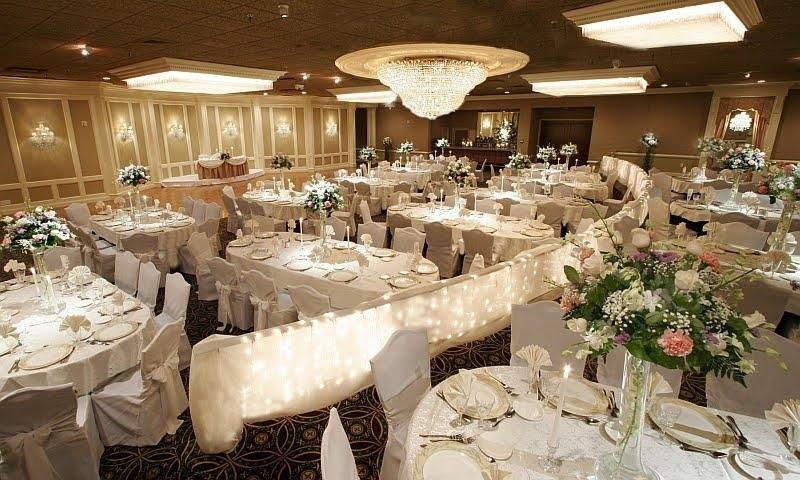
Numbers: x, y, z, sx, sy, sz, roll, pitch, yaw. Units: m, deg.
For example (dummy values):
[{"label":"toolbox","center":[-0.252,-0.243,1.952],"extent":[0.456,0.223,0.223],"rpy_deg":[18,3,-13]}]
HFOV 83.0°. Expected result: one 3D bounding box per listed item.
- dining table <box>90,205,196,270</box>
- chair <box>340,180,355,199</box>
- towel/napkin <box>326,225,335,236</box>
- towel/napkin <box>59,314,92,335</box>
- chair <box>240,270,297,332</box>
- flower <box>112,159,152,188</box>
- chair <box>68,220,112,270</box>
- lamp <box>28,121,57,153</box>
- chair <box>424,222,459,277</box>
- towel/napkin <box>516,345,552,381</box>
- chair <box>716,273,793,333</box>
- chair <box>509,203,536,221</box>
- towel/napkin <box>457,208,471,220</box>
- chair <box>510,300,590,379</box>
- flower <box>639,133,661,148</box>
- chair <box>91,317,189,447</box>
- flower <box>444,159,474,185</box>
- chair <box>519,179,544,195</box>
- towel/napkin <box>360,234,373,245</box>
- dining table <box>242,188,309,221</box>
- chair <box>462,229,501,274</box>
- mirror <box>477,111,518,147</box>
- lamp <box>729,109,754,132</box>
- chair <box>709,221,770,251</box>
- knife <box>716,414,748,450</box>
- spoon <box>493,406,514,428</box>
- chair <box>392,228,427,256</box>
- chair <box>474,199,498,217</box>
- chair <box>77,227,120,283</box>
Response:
[{"label":"dining table","center":[-5.533,-0.304,9.473],"extent":[2.191,0.659,1.284],"rpy_deg":[28,31,32]},{"label":"chair","center":[-1.562,-1.487,13.409],"extent":[0.487,0.653,0.520],"rpy_deg":[-7,16,-30]},{"label":"towel/napkin","center":[-1.333,-0.148,8.460],"extent":[0.069,0.202,0.202],"rpy_deg":[12,20,-9]},{"label":"towel/napkin","center":[-4.154,1.061,5.839],"extent":[0.270,0.282,0.283],"rpy_deg":[4,7,-6]},{"label":"chair","center":[-2.012,0.929,6.998],"extent":[0.593,0.965,0.690],"rpy_deg":[14,33,20]},{"label":"flower","center":[-5.976,-1.424,10.146],"extent":[0.495,0.484,0.879],"rpy_deg":[-6,15,-20]},{"label":"chair","center":[-6.044,0.124,8.859],"extent":[0.534,0.854,0.582],"rpy_deg":[30,42,21]},{"label":"lamp","center":[-10.642,-3.044,13.471],"extent":[0.686,0.970,0.665],"rpy_deg":[-2,18,-13]},{"label":"chair","center":[0.780,0.197,8.583],"extent":[0.653,1.077,0.670],"rpy_deg":[12,39,19]},{"label":"towel/napkin","center":[1.533,1.416,5.169],"extent":[0.407,0.400,0.066],"rpy_deg":[3,14,15]},{"label":"chair","center":[4.324,0.787,5.504],"extent":[0.799,0.486,0.785],"rpy_deg":[-6,11,-40]},{"label":"chair","center":[2.816,-0.642,10.262],"extent":[0.458,0.620,0.501],"rpy_deg":[5,7,28]},{"label":"towel/napkin","center":[1.354,-0.540,9.619],"extent":[0.244,0.237,0.072],"rpy_deg":[1,40,13]},{"label":"chair","center":[1.876,1.261,6.080],"extent":[0.857,1.399,0.987],"rpy_deg":[0,4,11]},{"label":"flower","center":[8.979,-3.556,16.208],"extent":[0.545,0.454,0.501],"rpy_deg":[-23,34,34]},{"label":"chair","center":[-3.424,1.895,5.870],"extent":[0.965,1.303,0.938],"rpy_deg":[20,27,8]},{"label":"flower","center":[1.333,-1.519,10.401],"extent":[0.584,0.488,0.395],"rpy_deg":[0,15,5]},{"label":"chair","center":[3.693,-1.469,12.740],"extent":[0.517,0.522,0.390],"rpy_deg":[12,32,18]},{"label":"towel/napkin","center":[-0.585,-0.006,7.730],"extent":[0.196,0.138,0.192],"rpy_deg":[1,12,-30]},{"label":"dining table","center":[-3.193,-0.952,11.651],"extent":[1.586,0.372,0.989],"rpy_deg":[14,27,38]},{"label":"chair","center":[1.477,0.210,8.222],"extent":[0.529,0.840,0.517],"rpy_deg":[14,40,26]},{"label":"mirror","center":[4.864,-5.453,22.222],"extent":[0.679,1.867,2.044],"rpy_deg":[-12,18,-43]},{"label":"lamp","center":[10.848,-3.806,14.389],"extent":[0.142,0.610,0.602],"rpy_deg":[-14,21,-28]},{"label":"chair","center":[5.758,-0.043,7.674],"extent":[0.652,0.782,0.560],"rpy_deg":[4,4,-42]},{"label":"knife","center":[3.526,2.007,4.856],"extent":[0.107,0.183,0.437],"rpy_deg":[-20,31,-9]},{"label":"spoon","center":[1.113,1.928,4.894],"extent":[0.362,0.063,0.073],"rpy_deg":[-25,52,-28]},{"label":"chair","center":[0.131,0.013,8.517],"extent":[0.498,0.675,0.537],"rpy_deg":[6,8,15]},{"label":"chair","center":[2.009,-0.792,10.646],"extent":[0.418,0.544,0.448],"rpy_deg":[9,24,22]},{"label":"chair","center":[-5.647,0.307,8.481],"extent":[0.657,0.910,0.542],"rpy_deg":[29,39,27]}]
